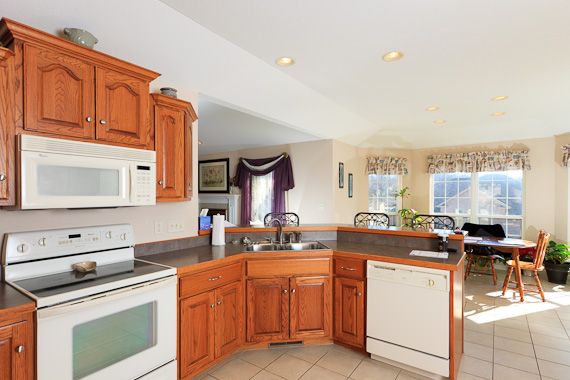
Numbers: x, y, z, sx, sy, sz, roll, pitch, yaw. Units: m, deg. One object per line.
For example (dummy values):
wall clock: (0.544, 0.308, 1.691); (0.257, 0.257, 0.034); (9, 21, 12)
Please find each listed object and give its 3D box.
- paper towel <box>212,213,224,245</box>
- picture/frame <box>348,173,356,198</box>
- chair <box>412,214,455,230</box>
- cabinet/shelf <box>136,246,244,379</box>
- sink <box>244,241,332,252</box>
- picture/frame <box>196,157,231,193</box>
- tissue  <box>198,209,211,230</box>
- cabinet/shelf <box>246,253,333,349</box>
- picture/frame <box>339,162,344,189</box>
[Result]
paper towel: (-0.804, 0.477, 4.582); (0.155, 0.359, 0.223); (0, -1, -11)
picture/frame: (1.376, -0.109, 7.882); (0.063, 0.712, 0.557); (-1, -3, 26)
chair: (2.644, 0.586, 6.820); (0.611, 0.360, 2.583); (-1, -1, 20)
cabinet/shelf: (-0.908, 1.243, 4.589); (1.180, 1.631, 1.229); (-2, -2, 29)
sink: (0.009, 0.672, 4.523); (0.960, 0.094, 0.318); (0, -1, -7)
picture/frame: (-1.544, -0.339, 8.423); (0.927, 0.727, 0.074); (-1, 1, 30)
tissue : (-0.987, 0.354, 4.672); (0.145, 0.256, 0.242); (0, -1, -11)
cabinet/shelf: (0.016, 1.193, 4.245); (1.179, 0.981, 0.569); (0, -5, -5)
picture/frame: (1.108, -0.295, 7.454); (0.031, 0.501, 0.303); (-1, -1, 25)
